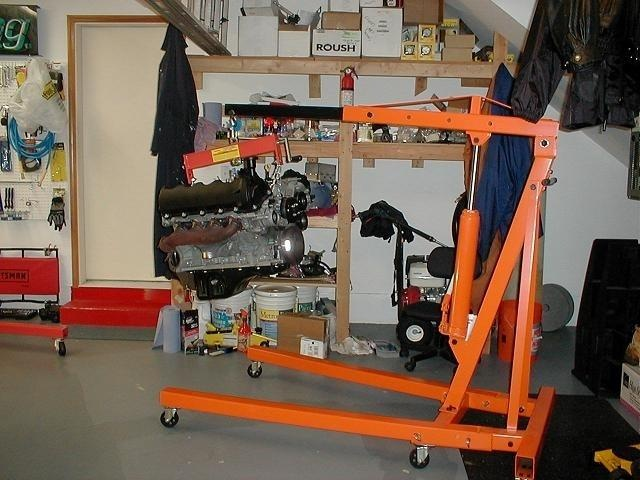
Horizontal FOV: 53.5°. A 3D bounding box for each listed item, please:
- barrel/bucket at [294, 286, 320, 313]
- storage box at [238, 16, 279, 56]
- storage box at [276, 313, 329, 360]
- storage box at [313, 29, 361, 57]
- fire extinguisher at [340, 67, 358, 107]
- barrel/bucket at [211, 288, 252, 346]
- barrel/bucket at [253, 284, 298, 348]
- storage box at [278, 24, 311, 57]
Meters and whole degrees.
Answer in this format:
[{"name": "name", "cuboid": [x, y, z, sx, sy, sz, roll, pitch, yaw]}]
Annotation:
[{"name": "barrel/bucket", "cuboid": [-0.133, 0.562, 6.231, 0.220, 0.248, 0.233, 1, 7, 0]}, {"name": "storage box", "cuboid": [-0.581, -1.949, 6.270, 0.370, 0.402, 0.380, 2, 1, 13]}, {"name": "storage box", "cuboid": [-0.154, 0.856, 5.615, 0.322, 0.328, 0.112, 4, 8, 23]}, {"name": "storage box", "cuboid": [0.150, -1.863, 5.931, 0.350, 0.204, 0.265, 1, 15, 2]}, {"name": "fire extinguisher", "cuboid": [0.263, -1.444, 5.960, 0.156, 0.362, 0.245, 1, 14, 2]}, {"name": "barrel/bucket", "cuboid": [-0.806, 0.718, 6.141, 0.435, 0.537, 0.461, -2, 1, 0]}, {"name": "barrel/bucket", "cuboid": [-0.451, 0.695, 5.949, 0.429, 0.538, 0.460, -1, 6, 0]}, {"name": "storage box", "cuboid": [-0.246, -1.894, 6.073, 0.262, 0.300, 0.301, 4, 22, 6]}]
